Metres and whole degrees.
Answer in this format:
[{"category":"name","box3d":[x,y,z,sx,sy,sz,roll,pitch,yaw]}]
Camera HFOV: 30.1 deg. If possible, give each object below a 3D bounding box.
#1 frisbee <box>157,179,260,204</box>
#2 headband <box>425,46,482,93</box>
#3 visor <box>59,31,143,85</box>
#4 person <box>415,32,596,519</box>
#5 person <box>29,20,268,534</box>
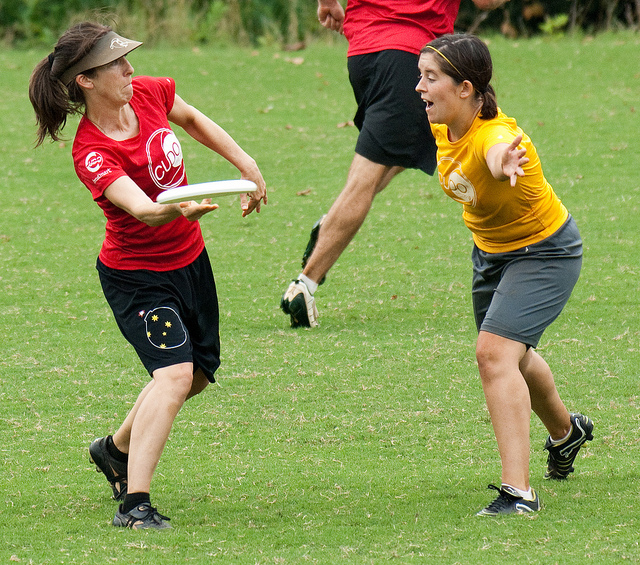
[{"category":"frisbee","box3d":[-0.448,-0.382,4.919,0.462,0.085,0.177,-14,22,-43]},{"category":"headband","box3d":[0.571,-0.907,5.059,0.038,0.253,0.028,-39,10,30]},{"category":"visor","box3d":[-0.950,-1.046,5.236,0.285,0.099,0.390,-12,20,-9]},{"category":"person","box3d":[0.851,-0.052,5.146,0.657,1.965,0.884,-6,19,-23]},{"category":"person","box3d":[-0.698,-0.066,5.169,0.999,2.038,1.095,-3,18,-15]}]
